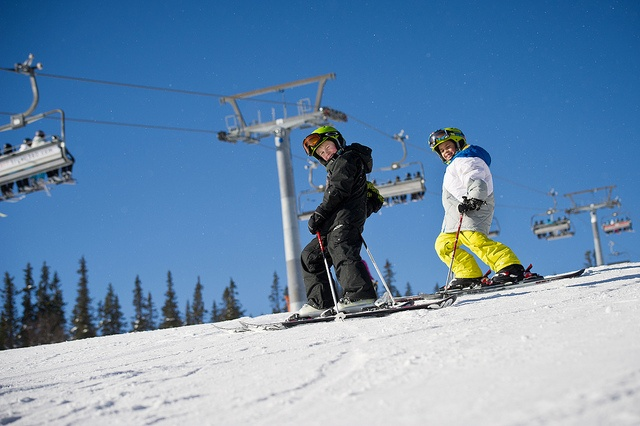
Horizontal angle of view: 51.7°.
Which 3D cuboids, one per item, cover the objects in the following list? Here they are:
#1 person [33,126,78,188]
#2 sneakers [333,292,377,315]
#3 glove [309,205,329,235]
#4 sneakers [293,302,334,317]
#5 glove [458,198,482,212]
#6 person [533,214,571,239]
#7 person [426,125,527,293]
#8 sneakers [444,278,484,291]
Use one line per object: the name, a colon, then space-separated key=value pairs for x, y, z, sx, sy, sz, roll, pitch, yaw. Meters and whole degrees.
person: x=-4.585 y=-0.922 z=11.360 sx=0.614 sy=0.804 sz=1.726 roll=-6 pitch=-1 yaw=-21
sneakers: x=0.343 y=0.930 z=6.776 sx=0.464 sy=0.217 sz=0.153 roll=6 pitch=-12 yaw=-3
glove: x=-0.027 y=0.076 z=7.134 sx=0.131 sy=0.293 sz=0.207 roll=35 pitch=-15 yaw=-30
sneakers: x=-0.053 y=1.117 z=7.345 sx=0.475 sy=0.210 sz=0.164 roll=2 pitch=-34 yaw=2
glove: x=1.770 y=-0.088 z=7.791 sx=0.210 sy=0.093 sz=0.150 roll=-5 pitch=-2 yaw=-15
person: x=8.999 y=0.515 z=25.485 sx=1.059 sy=0.767 sz=0.661 roll=-4 pitch=-24 yaw=22
person: x=1.789 y=0.167 z=7.713 sx=1.096 sy=2.073 sz=1.237 roll=-3 pitch=-26 yaw=5
sneakers: x=1.783 y=0.876 z=8.219 sx=0.464 sy=0.207 sz=0.160 roll=1 pitch=-2 yaw=10
